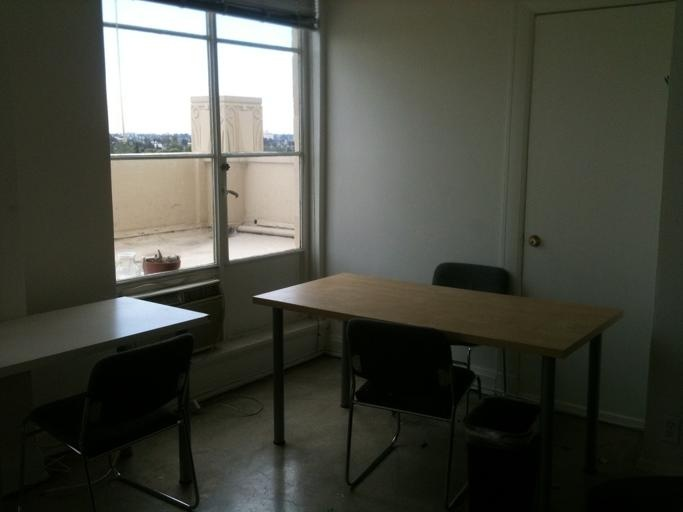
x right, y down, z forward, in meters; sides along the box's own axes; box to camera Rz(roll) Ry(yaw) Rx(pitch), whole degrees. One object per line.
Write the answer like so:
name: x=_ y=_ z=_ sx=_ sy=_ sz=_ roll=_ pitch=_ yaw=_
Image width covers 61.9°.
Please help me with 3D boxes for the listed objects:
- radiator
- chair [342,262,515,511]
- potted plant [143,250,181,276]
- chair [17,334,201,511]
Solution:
radiator: x=-1.164 y=0.508 z=4.090 sx=0.144 sy=0.543 sz=0.764 roll=7 pitch=9 yaw=32
chair: x=0.429 y=0.703 z=3.701 sx=0.791 sy=1.382 sz=1.570 roll=3 pitch=7 yaw=24
potted plant: x=-1.295 y=0.058 z=4.073 sx=0.188 sy=0.145 sz=0.142 roll=-4 pitch=8 yaw=-44
chair: x=-1.282 y=0.913 z=3.054 sx=0.733 sy=1.159 sz=0.683 roll=16 pitch=13 yaw=26
